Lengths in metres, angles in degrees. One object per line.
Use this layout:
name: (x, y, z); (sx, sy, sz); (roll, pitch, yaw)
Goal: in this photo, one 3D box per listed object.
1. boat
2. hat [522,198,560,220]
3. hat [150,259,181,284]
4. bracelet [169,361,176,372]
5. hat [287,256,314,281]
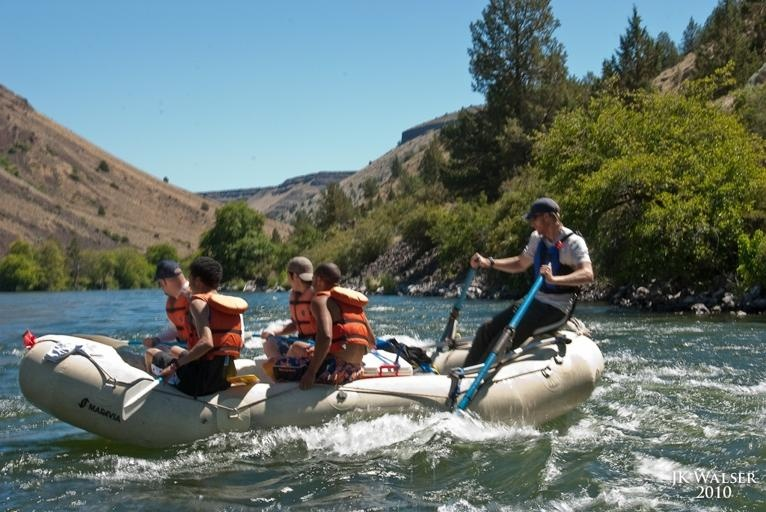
boat: (-1.381, 2.439, 13.533); (7.526, 1.759, 3.747); (3, -7, -11)
hat: (2.844, -0.869, 13.978); (0.524, 0.359, 0.391); (1, 6, 13)
hat: (-3.769, 0.262, 13.432); (0.405, 0.243, 0.303); (-7, 0, 42)
bracelet: (-3.496, 1.843, 12.888); (0.048, 0.142, 0.104); (31, -7, 22)
hat: (-1.447, 0.219, 13.617); (0.440, 0.282, 0.315); (11, 8, 31)
